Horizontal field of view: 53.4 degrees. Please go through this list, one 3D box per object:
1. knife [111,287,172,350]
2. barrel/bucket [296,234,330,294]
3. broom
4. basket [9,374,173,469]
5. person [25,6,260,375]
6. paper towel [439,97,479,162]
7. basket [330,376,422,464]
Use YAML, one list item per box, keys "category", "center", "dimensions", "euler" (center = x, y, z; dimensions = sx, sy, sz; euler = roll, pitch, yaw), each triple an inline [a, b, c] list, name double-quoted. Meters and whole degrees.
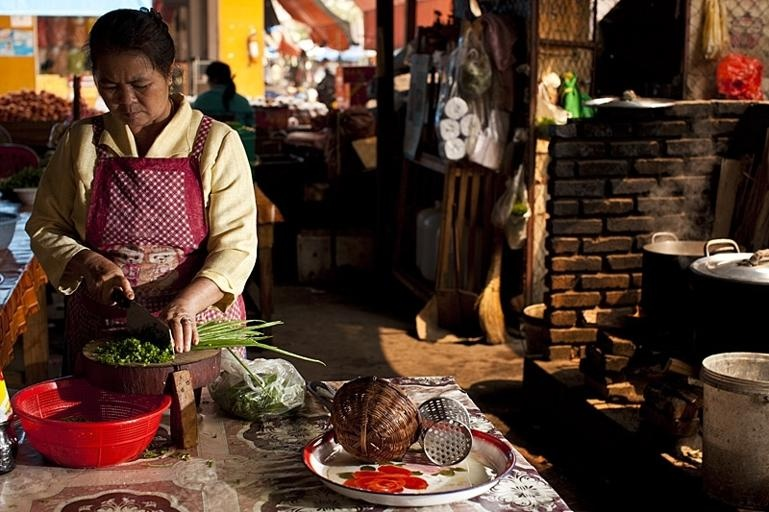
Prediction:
- category: "knife"
  center: [-0.883, 0.218, 2.739]
  dimensions: [0.041, 0.098, 0.457]
  euler: [4, 18, -46]
- category: "barrel/bucket"
  center: [-0.795, -0.001, 8.680]
  dimensions: [0.371, 0.544, 0.234]
  euler: [-1, 15, -3]
- category: "broom"
  center: [0.937, 0.344, 6.598]
  dimensions: [0.205, 0.817, 0.369]
  euler: [-1, -25, 8]
- category: "basket"
  center: [-1.010, 0.570, 2.580]
  dimensions: [0.371, 0.128, 0.365]
  euler: [6, -1, 18]
- category: "person"
  center: [-0.942, -0.228, 3.064]
  dimensions: [0.874, 1.461, 0.667]
  euler: [8, 17, 28]
- category: "paper towel"
  center: [0.620, -1.085, 6.599]
  dimensions: [0.173, 0.510, 0.319]
  euler: [-6, 17, -21]
- category: "basket"
  center: [-0.033, 0.508, 2.597]
  dimensions: [0.273, 0.256, 0.303]
  euler: [-12, 18, -41]
